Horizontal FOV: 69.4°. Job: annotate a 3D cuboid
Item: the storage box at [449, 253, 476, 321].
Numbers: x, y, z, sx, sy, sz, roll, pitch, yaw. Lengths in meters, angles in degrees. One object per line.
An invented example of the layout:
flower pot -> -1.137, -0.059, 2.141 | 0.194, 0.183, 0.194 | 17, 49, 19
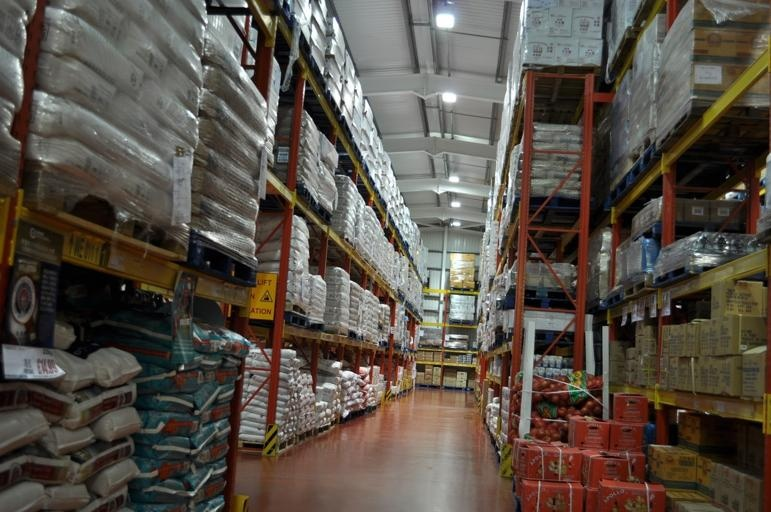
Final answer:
storage box -> 4.746, 1.931, 34.022 | 1.642, 4.075, 1.313 | 4, -9, 10

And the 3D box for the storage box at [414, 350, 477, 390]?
storage box -> 3.704, 6.918, 34.416 | 3.568, 2.437, 2.072 | 4, -9, 6
